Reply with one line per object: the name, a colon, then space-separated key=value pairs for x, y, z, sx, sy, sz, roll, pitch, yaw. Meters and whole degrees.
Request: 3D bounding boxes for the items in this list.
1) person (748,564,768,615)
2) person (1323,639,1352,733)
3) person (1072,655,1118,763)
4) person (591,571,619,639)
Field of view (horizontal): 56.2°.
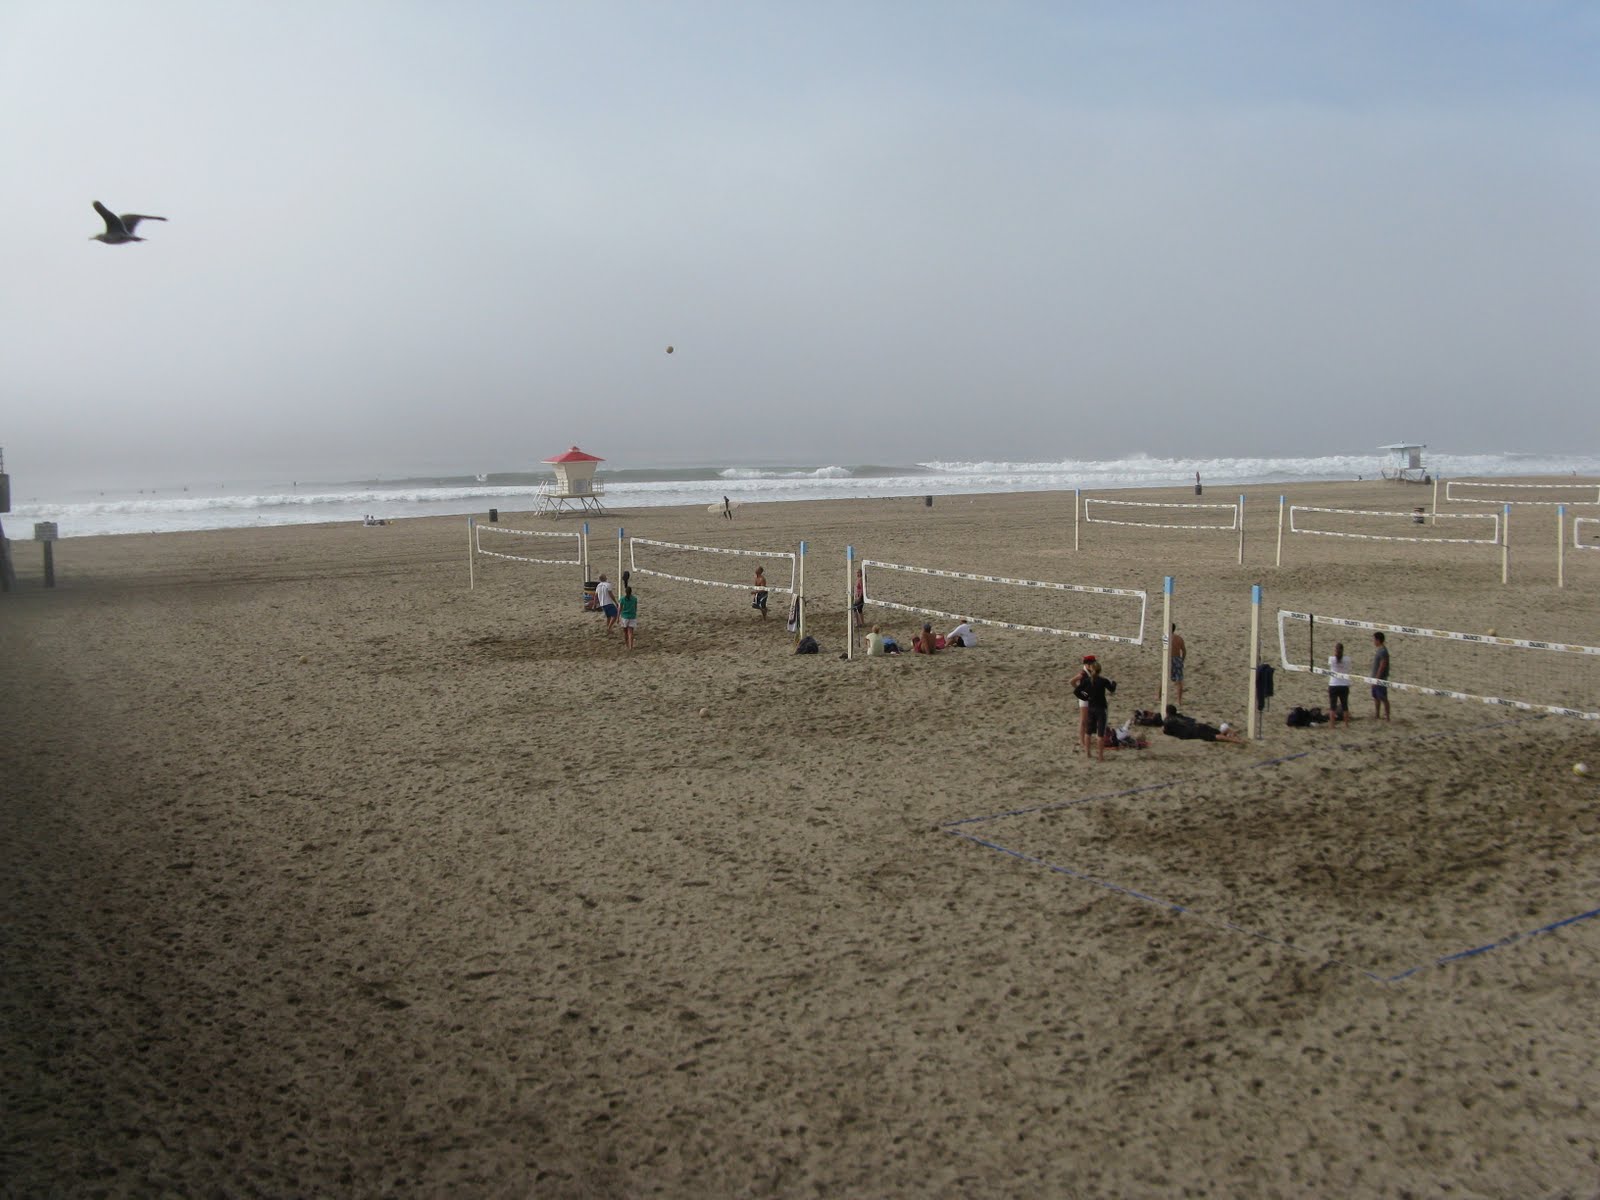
person: x=-0.776 y=-0.194 z=28.075 sx=0.327 sy=1.065 sz=0.598 roll=-10 pitch=28 yaw=-16
person: x=6.348 y=0.894 z=17.646 sx=0.250 sy=0.827 sz=1.127 roll=3 pitch=13 yaw=19
person: x=3.287 y=0.996 z=16.627 sx=0.386 sy=1.069 sz=1.561 roll=1 pitch=12 yaw=12
person: x=-3.129 y=0.045 z=24.496 sx=0.333 sy=0.872 sz=1.234 roll=-3 pitch=12 yaw=-8
